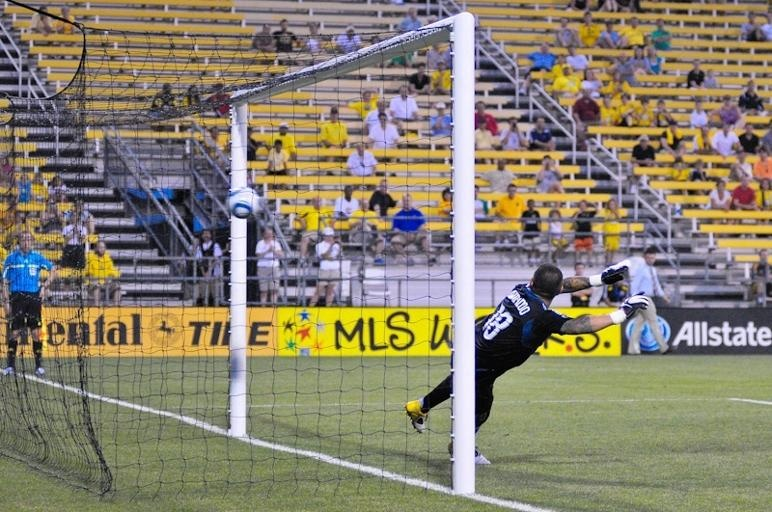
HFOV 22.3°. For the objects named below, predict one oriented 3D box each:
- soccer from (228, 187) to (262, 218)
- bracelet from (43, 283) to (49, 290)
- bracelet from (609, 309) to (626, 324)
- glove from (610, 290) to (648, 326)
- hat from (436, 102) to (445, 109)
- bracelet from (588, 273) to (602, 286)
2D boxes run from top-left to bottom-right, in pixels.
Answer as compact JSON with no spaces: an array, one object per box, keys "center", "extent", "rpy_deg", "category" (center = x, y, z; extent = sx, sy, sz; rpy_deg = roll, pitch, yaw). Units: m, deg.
[{"center":[-2.889,-1.107,40.098],"extent":[0.630,0.633,0.407],"rpy_deg":[-1,2,-7],"category":"soccer"},{"center":[-7.701,0.652,44.371],"extent":[0.149,0.136,0.033],"rpy_deg":[13,3,-7],"category":"bracelet"},{"center":[4.628,1.191,38.950],"extent":[0.229,0.240,0.319],"rpy_deg":[-2,-11,0],"category":"bracelet"},{"center":[4.904,1.097,39.006],"extent":[0.735,0.320,0.514],"rpy_deg":[-31,21,-9],"category":"glove"},{"center":[1.445,-3.938,51.027],"extent":[0.274,0.129,0.404],"rpy_deg":[-1,4,6],"category":"hat"},{"center":[4.322,0.448,39.952],"extent":[0.217,0.202,0.250],"rpy_deg":[3,22,36],"category":"bracelet"}]
